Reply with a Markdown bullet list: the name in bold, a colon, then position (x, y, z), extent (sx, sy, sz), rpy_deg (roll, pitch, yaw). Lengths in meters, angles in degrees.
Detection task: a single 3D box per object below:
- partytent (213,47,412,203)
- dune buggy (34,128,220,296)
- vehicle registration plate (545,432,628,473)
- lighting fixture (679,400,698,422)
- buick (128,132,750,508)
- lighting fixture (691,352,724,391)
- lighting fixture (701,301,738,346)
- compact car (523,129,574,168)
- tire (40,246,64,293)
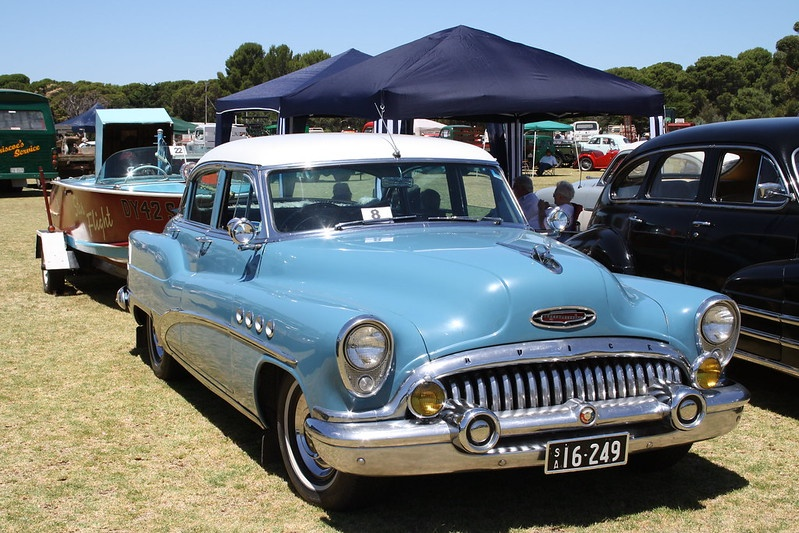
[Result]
- **partytent**: position (-2.814, -2.694, 15.013), extent (5.086, 3.883, 5.265), rpy_deg (4, 13, 38)
- **dune buggy**: position (-4.387, -0.872, 9.134), extent (2.082, 1.968, 3.408), rpy_deg (-3, 5, -35)
- **vehicle registration plate**: position (1.078, 1.073, 3.401), extent (0.555, 0.207, 0.033), rpy_deg (-3, 12, -17)
- **lighting fixture**: position (1.730, 0.869, 3.573), extent (0.123, 0.122, 0.028), rpy_deg (20, 2, -31)
- **buick**: position (-0.620, 0.060, 5.972), extent (3.160, 2.251, 6.236), rpy_deg (-2, 8, -35)
- **lighting fixture**: position (1.977, 0.676, 3.808), extent (0.179, 0.245, 0.233), rpy_deg (6, -1, -9)
- **lighting fixture**: position (2.093, 0.373, 3.904), extent (0.408, 0.245, 0.138), rpy_deg (-5, -4, -32)
- **compact car**: position (8.366, -7.183, 35.949), extent (1.654, 1.490, 2.884), rpy_deg (6, 12, 21)
- **tire**: position (-5.172, 0.030, 8.867), extent (0.259, 0.731, 0.684), rpy_deg (-9, 16, -39)
